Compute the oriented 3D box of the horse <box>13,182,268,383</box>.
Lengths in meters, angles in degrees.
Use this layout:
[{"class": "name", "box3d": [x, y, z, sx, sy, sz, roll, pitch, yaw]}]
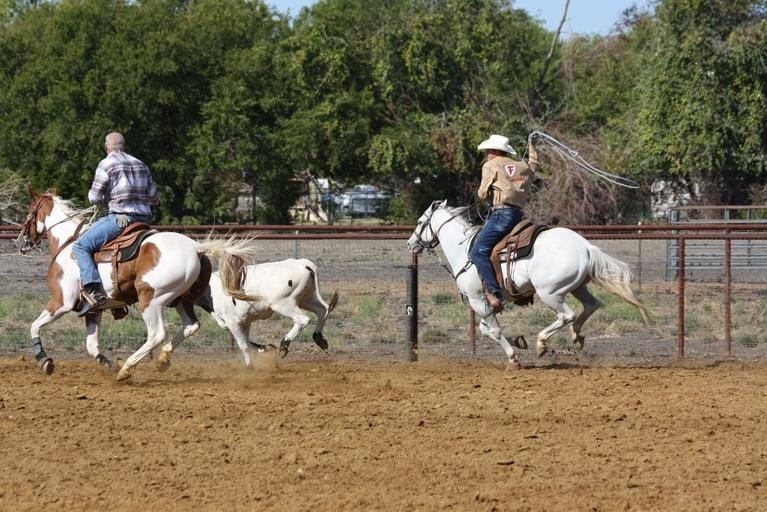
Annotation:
[{"class": "horse", "box3d": [-7.244, 0.777, 37.032, 7.437, 5.228, 2.005, 0, -4, 17]}]
